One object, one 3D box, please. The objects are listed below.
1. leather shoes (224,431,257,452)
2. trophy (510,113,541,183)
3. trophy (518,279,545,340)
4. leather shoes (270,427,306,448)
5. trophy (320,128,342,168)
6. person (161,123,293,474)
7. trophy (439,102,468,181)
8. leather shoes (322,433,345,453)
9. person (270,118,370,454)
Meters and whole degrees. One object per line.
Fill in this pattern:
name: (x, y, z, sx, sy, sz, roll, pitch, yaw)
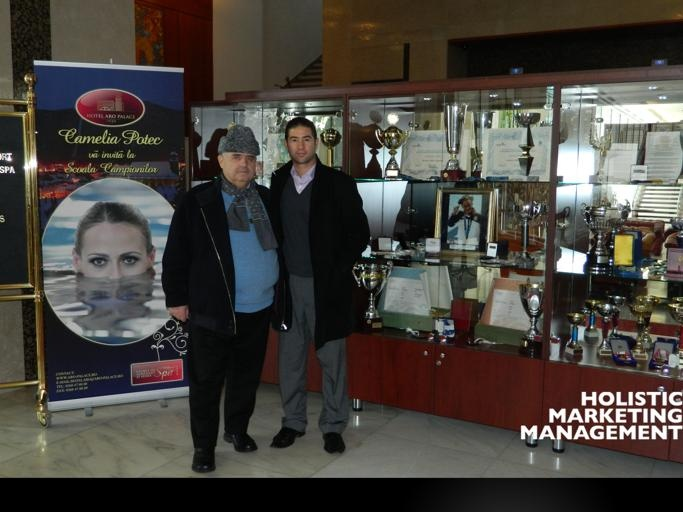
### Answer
leather shoes: (-0.595, 1.104, 3.373, 0.216, 0.092, 0.093, 2, 4, 34)
trophy: (1.153, -0.697, 3.484, 0.164, 0.369, 0.165, 5, 9, 40)
trophy: (1.184, 0.328, 3.484, 0.159, 0.349, 0.137, 7, 14, 28)
leather shoes: (-0.323, 1.105, 3.404, 0.078, 0.085, 0.218, -8, -8, 38)
trophy: (-0.074, -0.795, 4.071, 0.156, 0.281, 0.161, 4, 9, 12)
person: (-0.674, 0.232, 3.178, 0.560, 1.901, 0.329, -11, 16, -41)
trophy: (0.753, -0.766, 3.738, 0.163, 0.487, 0.235, -10, 13, -43)
leather shoes: (-0.039, 1.120, 3.338, 0.083, 0.060, 0.130, -2, 2, -11)
person: (-0.114, 0.184, 3.556, 0.617, 2.015, 0.623, 1, 3, 7)
